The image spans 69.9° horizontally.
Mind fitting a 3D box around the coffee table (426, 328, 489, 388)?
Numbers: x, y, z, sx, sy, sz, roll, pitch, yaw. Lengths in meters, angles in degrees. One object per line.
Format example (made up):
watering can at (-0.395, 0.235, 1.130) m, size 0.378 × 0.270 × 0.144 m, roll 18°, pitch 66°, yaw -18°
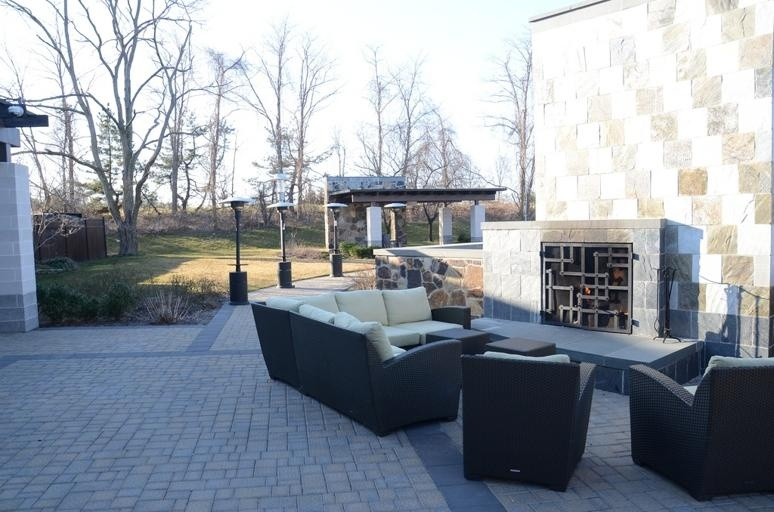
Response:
coffee table at (1.056, 1.384, 8.360) m, size 0.615 × 0.468 × 0.514 m, roll -3°, pitch 3°, yaw -39°
